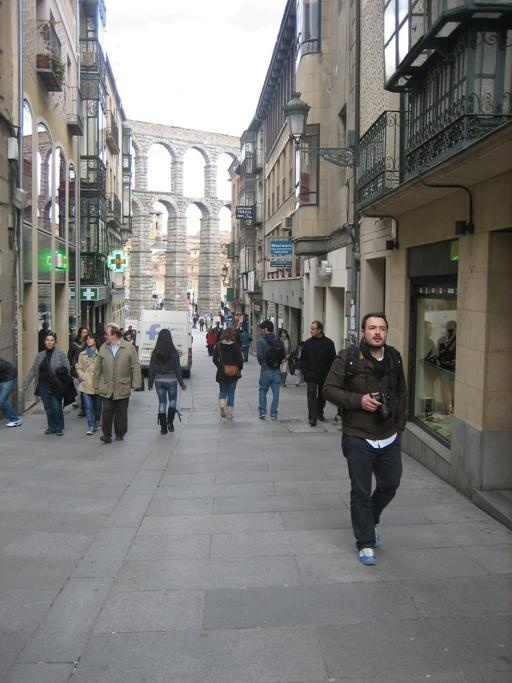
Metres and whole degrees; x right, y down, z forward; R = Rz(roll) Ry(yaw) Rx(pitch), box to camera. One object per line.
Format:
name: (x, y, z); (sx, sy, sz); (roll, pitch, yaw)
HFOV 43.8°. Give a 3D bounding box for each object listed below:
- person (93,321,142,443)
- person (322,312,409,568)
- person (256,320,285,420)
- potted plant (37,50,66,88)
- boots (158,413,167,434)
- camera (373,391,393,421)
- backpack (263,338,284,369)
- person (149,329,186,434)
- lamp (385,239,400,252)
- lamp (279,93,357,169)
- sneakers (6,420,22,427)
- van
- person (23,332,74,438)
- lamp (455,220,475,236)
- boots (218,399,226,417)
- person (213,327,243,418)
person: (-2.075, 0.621, 9.487); (0.673, 1.741, 1.072); (0, 0, -21)
person: (0.748, 0.677, 4.382); (0.558, 1.428, 0.478); (-1, 0, 18)
person: (0.259, 0.473, 11.516); (0.353, 1.764, 0.636); (1, 8, -2)
potted plant: (-5.138, -6.776, 15.829); (0.474, 0.648, 1.257); (-1, 0, -10)
boots: (-1.503, 1.314, 10.257); (0.151, 0.342, 0.311); (0, 0, -10)
camera: (0.828, 0.417, 4.169); (0.057, 0.129, 0.160); (0, -40, 31)
backpack: (0.321, 0.221, 11.278); (0.368, 0.426, 0.315); (-1, 0, -7)
person: (-1.463, 0.616, 10.358); (0.478, 1.955, 0.389); (0, 24, -9)
lamp: (1.920, -1.367, 8.995); (0.136, 0.147, 0.114); (2, 0, -7)
lamp: (0.902, -3.313, 10.267); (1.072, 1.653, 0.678); (-12, -5, -31)
sneakers: (-4.072, 1.378, 10.721); (0.251, 0.157, 0.105); (-5, -1, -20)
van: (-3.172, 0.067, 21.929); (1.403, 1.959, 2.888); (0, 8, -3)
person: (-3.219, 0.670, 10.040); (0.686, 1.622, 0.541); (-1, 0, 11)
lamp: (2.012, -1.096, 6.135); (0.142, 0.161, 0.097); (0, 3, -4)
boots: (-0.609, 1.213, 11.584); (0.092, 0.416, 0.239); (-1, 4, -6)
person: (-0.527, 0.601, 11.567); (0.493, 1.171, 1.368); (-1, 0, -4)
